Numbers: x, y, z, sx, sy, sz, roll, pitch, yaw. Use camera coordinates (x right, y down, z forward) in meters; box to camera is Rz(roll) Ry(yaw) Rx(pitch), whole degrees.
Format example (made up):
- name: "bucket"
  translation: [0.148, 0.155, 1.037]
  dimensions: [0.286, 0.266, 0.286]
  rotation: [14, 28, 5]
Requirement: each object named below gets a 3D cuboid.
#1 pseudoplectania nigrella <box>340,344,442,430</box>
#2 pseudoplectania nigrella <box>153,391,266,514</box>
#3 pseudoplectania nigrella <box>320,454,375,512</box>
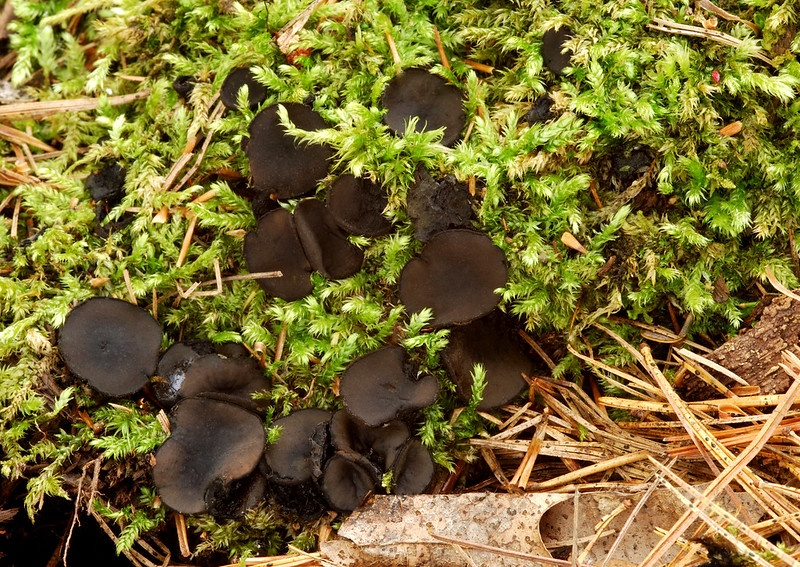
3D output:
- name: "pseudoplectania nigrella"
  translation: [-0.094, 0.678, 4.731]
  dimensions: [0.569, 0.458, 0.364]
  rotation: [4, 35, -24]
- name: "pseudoplectania nigrella"
  translation: [-1.204, 1.085, 4.666]
  dimensions: [0.626, 0.564, 0.480]
  rotation: [16, 32, -6]
- name: "pseudoplectania nigrella"
  translation: [-0.345, 1.254, 4.685]
  dimensions: [0.335, 0.146, 0.350]
  rotation: [-2, 75, -12]
